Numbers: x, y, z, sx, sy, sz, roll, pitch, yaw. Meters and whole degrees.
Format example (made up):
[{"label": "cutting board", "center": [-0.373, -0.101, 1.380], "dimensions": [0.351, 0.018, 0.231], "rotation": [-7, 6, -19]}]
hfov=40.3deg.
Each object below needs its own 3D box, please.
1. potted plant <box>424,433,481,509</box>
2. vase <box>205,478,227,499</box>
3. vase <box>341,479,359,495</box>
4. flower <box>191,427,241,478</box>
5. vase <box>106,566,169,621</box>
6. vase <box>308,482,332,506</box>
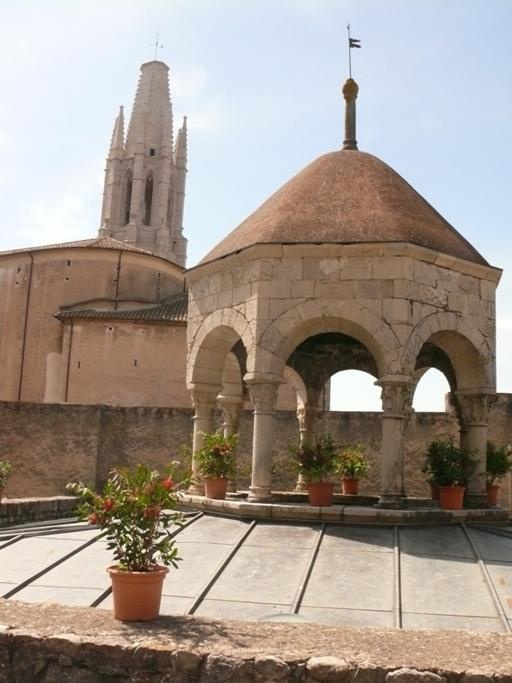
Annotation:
[{"label": "potted plant", "center": [2.564, 1.847, 9.410], "dimensions": [0.981, 1.049, 0.837], "rotation": [1, -20, 0]}, {"label": "vase", "center": [-0.533, 1.976, 9.353], "dimensions": [0.314, 0.196, 0.281], "rotation": [-1, -16, 6]}, {"label": "vase", "center": [1.565, 2.431, 11.618], "dimensions": [0.308, 0.192, 0.282], "rotation": [-2, -17, 14]}, {"label": "flower", "center": [-0.552, 1.559, 9.477], "dimensions": [0.562, 0.607, 0.387], "rotation": [2, -10, -6]}, {"label": "vase", "center": [-0.850, 1.776, 4.982], "dimensions": [0.459, 0.291, 0.414], "rotation": [5, -10, -17]}, {"label": "vase", "center": [0.853, 1.938, 8.856], "dimensions": [0.340, 0.222, 0.333], "rotation": [-7, -12, 41]}]
